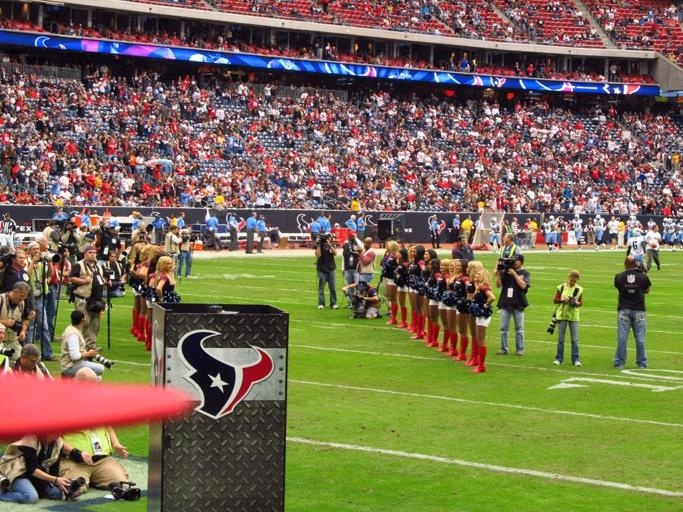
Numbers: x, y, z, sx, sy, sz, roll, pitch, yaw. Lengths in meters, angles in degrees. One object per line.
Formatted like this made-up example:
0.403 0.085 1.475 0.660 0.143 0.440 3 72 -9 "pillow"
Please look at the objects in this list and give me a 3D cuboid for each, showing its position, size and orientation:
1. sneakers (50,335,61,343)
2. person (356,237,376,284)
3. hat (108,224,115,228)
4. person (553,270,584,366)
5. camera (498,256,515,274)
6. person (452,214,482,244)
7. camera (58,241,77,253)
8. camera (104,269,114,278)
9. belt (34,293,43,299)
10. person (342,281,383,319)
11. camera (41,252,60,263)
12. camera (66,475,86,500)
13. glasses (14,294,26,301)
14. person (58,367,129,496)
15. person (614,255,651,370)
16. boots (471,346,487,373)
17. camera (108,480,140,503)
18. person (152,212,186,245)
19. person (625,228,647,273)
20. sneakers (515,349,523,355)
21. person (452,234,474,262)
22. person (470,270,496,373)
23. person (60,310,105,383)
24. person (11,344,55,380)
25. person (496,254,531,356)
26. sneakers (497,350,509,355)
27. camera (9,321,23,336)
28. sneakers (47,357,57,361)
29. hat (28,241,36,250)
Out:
-6.842 2.015 29.670 0.253 0.170 0.083 -13 19 -32 "sneakers"
0.660 0.155 34.240 0.450 1.273 0.507 1 1 3 "person"
-6.453 -0.829 34.629 0.120 0.061 0.170 2 6 -8 "hat"
5.310 1.479 29.148 0.641 2.267 0.916 1 1 10 "person"
3.911 0.227 29.669 0.422 0.467 0.299 -1 1 1 "camera"
5.945 -1.248 59.216 1.387 1.494 0.445 0 1 -30 "person"
-7.169 -0.210 32.700 0.355 0.225 0.501 4 0 -10 "camera"
-5.985 0.463 31.735 0.198 0.218 0.376 6 -7 -4 "camera"
-6.902 0.913 28.176 0.167 0.142 0.184 1 1 9 "belt"
0.540 1.220 34.734 0.919 1.060 1.156 0 2 -16 "person"
-6.567 0.050 27.952 0.387 0.225 0.866 -1 3 -31 "camera"
-4.590 4.070 21.426 0.158 0.245 0.375 -31 -4 -40 "camera"
-6.393 0.845 24.615 0.123 0.126 0.160 1 -4 -11 "glasses"
-4.362 3.152 21.913 1.124 1.948 1.454 2 -2 -18 "person"
6.752 1.327 28.899 0.767 2.640 1.018 1 1 13 "person"
3.053 2.389 28.393 0.559 0.687 0.331 -1 5 0 "boots"
-3.766 4.126 21.494 0.464 0.267 0.260 -1 0 23 "camera"
-6.197 -0.948 44.046 0.582 0.544 1.735 27 21 28 "person"
10.583 -0.133 44.666 0.765 1.976 0.603 -2 25 20 "person"
4.295 2.375 29.984 0.120 0.128 0.117 0 2 -45 "sneakers"
3.877 -0.252 39.747 0.657 1.020 0.581 2 26 16 "person"
3.187 1.496 28.030 0.546 2.398 0.627 1 1 16 "person"
-4.979 1.887 23.974 0.858 1.611 0.838 2 6 -17 "person"
-5.446 1.834 21.615 0.554 0.515 1.066 0 2 -16 "person"
4.125 1.215 30.045 0.727 2.450 1.298 1 2 7 "person"
3.903 2.384 30.120 0.219 0.094 0.105 5 -1 -24 "sneakers"
-6.444 1.447 24.479 0.234 0.233 0.190 -1 9 2 "camera"
-6.528 2.353 27.851 0.213 0.100 0.076 0 7 -6 "sneakers"
-6.833 -0.226 27.374 0.148 0.182 0.196 5 -7 -28 "hat"
